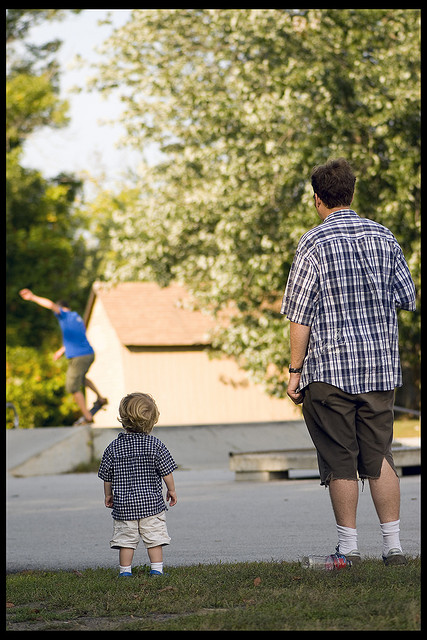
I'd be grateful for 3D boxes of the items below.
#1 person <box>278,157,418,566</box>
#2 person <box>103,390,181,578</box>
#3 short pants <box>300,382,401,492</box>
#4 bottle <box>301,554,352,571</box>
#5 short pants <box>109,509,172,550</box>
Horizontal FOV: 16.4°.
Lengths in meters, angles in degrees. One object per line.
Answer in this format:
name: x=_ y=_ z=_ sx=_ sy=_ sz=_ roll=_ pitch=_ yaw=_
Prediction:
person: x=0.810 y=0.226 z=8.571 sx=0.789 sy=2.320 sz=0.394 roll=-5 pitch=0 yaw=2
person: x=-0.440 y=0.937 z=8.579 sx=0.416 sy=1.058 sz=0.250 roll=-5 pitch=0 yaw=-7
short pants: x=0.844 y=0.643 z=8.609 sx=0.542 sy=0.335 sz=0.903 roll=-3 pitch=30 yaw=1
bottle: x=0.652 y=1.372 z=8.458 sx=0.297 sy=0.085 sz=0.190 roll=-5 pitch=0 yaw=4
short pants: x=-0.439 y=1.230 z=8.592 sx=0.364 sy=0.338 sz=0.189 roll=-3 pitch=-11 yaw=6
